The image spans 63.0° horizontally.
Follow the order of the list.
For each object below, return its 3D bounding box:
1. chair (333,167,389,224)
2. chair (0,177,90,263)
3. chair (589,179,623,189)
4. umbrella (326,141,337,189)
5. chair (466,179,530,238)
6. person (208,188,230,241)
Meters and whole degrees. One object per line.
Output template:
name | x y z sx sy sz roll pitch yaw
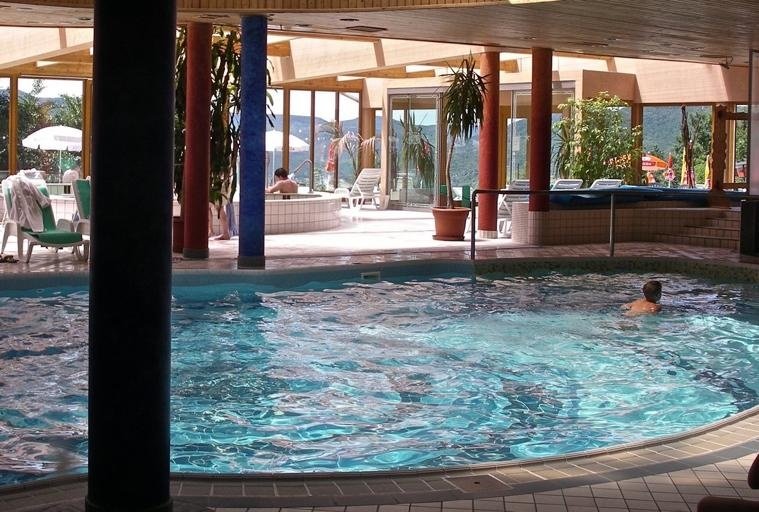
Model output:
chair | -0.593 -2.125 19.830 1.561 1.211 2.276 -3 9 -25
chair | -5.184 -0.583 9.265 0.988 1.277 1.703 -9 17 -38
chair | 5.141 -1.659 14.100 0.716 0.215 0.487 -1 7 9
umbrella | -1.824 -3.440 23.331 0.317 1.886 0.748 -6 16 -28
chair | 2.782 -1.100 13.797 1.351 1.093 1.932 0 9 -6
person | -2.991 -0.778 11.515 0.472 1.039 1.120 4 3 -12
